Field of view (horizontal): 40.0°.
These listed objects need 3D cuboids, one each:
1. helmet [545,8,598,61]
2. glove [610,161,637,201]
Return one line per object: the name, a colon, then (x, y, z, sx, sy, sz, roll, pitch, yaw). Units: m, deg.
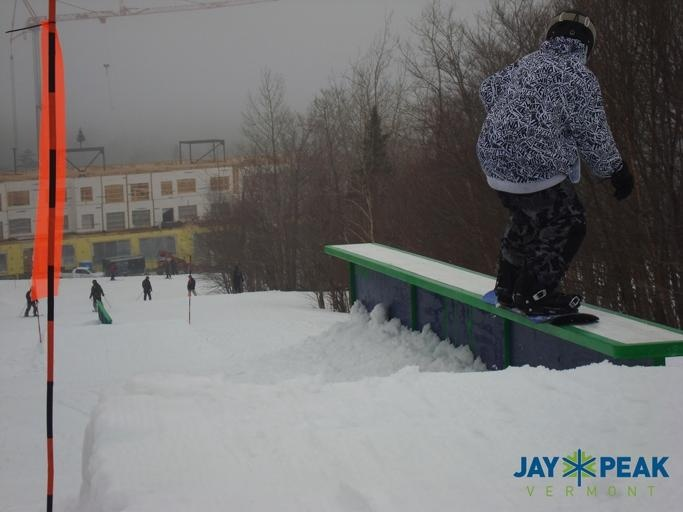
helmet: (2.790, -2.642, 11.369, 0.416, 0.558, 0.580, 15, -8, 12)
glove: (3.328, -0.891, 11.105, 0.259, 0.464, 0.436, -2, 10, 16)
